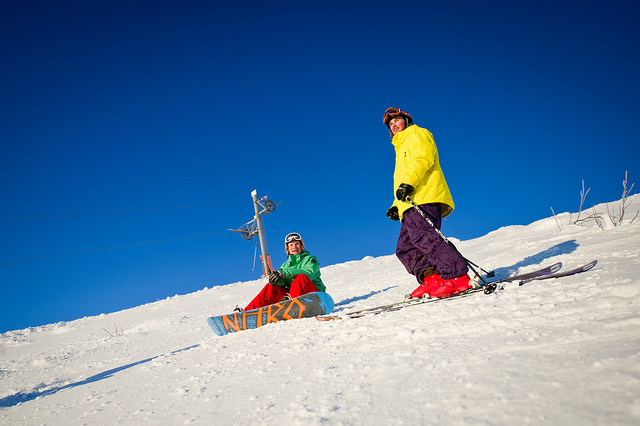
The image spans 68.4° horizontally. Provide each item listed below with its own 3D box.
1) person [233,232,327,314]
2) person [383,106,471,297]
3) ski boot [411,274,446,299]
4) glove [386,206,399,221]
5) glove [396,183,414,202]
[{"bbox_3d":[-0.524,0.950,7.022,0.789,1.323,1.677,-20,-27,36],"label":"person"},{"bbox_3d":[1.190,-0.190,5.704,0.754,2.228,1.231,-11,9,3],"label":"person"},{"bbox_3d":[1.259,0.847,5.551,0.460,0.193,0.168,-35,11,29],"label":"ski boot"},{"bbox_3d":[0.942,0.010,6.096,0.225,0.208,0.061,-1,-13,32],"label":"glove"},{"bbox_3d":[0.952,-0.214,5.501,0.219,0.184,0.163,28,-43,-30],"label":"glove"}]
